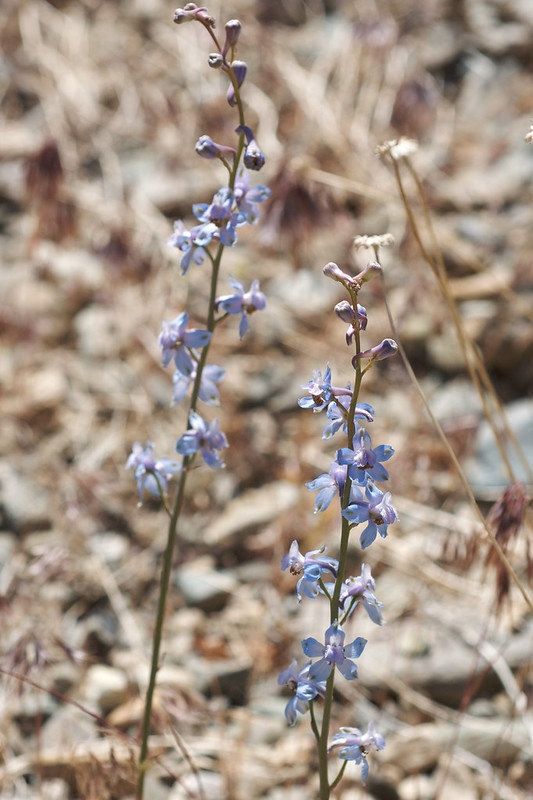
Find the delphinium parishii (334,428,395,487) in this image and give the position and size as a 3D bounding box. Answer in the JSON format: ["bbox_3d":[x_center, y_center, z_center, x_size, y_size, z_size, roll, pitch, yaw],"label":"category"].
[{"bbox_3d":[0.439,0.273,5.793,0.252,0.228,0.235,3,-40,-11],"label":"delphinium parishii"}]

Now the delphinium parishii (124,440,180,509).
[{"bbox_3d":[-0.561,0.381,6.121,0.256,0.321,0.359,3,-40,-11],"label":"delphinium parishii"}]

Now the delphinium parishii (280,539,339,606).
[{"bbox_3d":[0.193,0.800,5.900,0.222,0.183,0.110,-1,-68,23],"label":"delphinium parishii"}]

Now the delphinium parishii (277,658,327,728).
[{"bbox_3d":[0.229,1.369,5.972,0.205,0.298,0.275,12,-59,-21],"label":"delphinium parishii"}]

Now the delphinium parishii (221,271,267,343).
[{"bbox_3d":[-0.171,-0.440,6.133,0.319,0.285,0.171,-1,-14,-36],"label":"delphinium parishii"}]

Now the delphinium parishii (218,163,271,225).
[{"bbox_3d":[-0.106,-0.986,6.080,0.277,0.241,0.128,3,1,0],"label":"delphinium parishii"}]

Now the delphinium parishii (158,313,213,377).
[{"bbox_3d":[-0.397,-0.262,6.033,0.267,0.253,0.259,-27,-44,24],"label":"delphinium parishii"}]

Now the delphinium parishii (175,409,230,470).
[{"bbox_3d":[-0.318,0.207,6.035,0.238,0.247,0.284,1,-40,-9],"label":"delphinium parishii"}]

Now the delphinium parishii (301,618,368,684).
[{"bbox_3d":[0.299,1.163,5.802,0.306,0.290,0.100,5,-60,21],"label":"delphinium parishii"}]

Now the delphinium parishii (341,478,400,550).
[{"bbox_3d":[0.508,0.531,5.805,0.303,0.241,0.138,-24,-9,6],"label":"delphinium parishii"}]
